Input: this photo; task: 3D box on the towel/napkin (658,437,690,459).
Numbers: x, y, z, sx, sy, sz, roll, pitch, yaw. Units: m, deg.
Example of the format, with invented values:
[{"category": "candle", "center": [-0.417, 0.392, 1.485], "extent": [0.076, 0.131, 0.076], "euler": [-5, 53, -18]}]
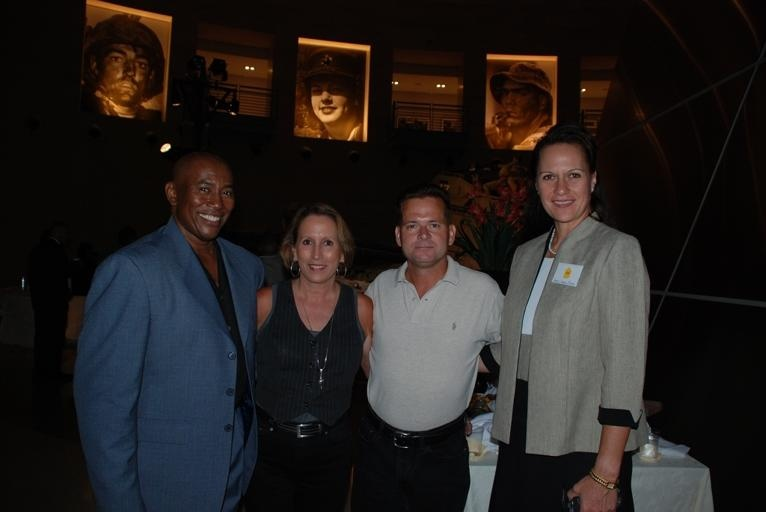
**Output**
[{"category": "towel/napkin", "center": [2.376, 1.574, 4.911], "extent": [0.224, 0.081, 0.180], "euler": [2, 0, 21]}]
